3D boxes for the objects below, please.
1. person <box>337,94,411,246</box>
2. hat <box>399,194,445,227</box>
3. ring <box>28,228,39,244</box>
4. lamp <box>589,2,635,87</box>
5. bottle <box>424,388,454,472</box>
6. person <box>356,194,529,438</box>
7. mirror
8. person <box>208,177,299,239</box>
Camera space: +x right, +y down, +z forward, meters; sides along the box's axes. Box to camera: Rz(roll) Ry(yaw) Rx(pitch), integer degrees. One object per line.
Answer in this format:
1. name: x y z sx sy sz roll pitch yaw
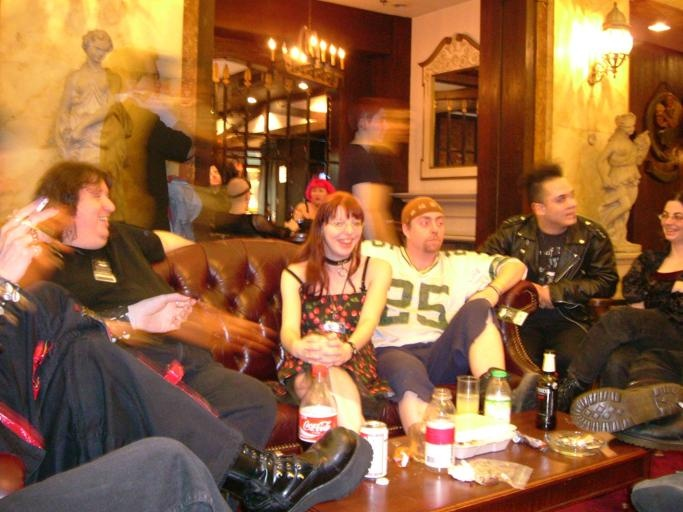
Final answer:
1. person: 0.355 -0.466 5.478 0.576 1.991 0.897 -6 16 10
2. hat: 0.430 -0.208 3.015 0.160 0.119 0.179 -32 4 -27
3. ring: -0.981 -0.070 1.823 0.009 0.035 0.034 -8 19 -15
4. lamp: 2.565 -1.994 5.353 0.281 0.840 0.530 8 9 38
5. bottle: 0.338 0.575 1.934 0.109 0.245 0.191 4 7 10
6. person: 0.608 0.302 2.876 0.856 0.992 0.957 3 -10 -6
7. mirror: 1.271 -1.782 6.860 0.261 1.708 0.963 -2 8 -29
8. person: -0.856 -0.463 5.505 0.676 0.501 0.377 15 45 18
